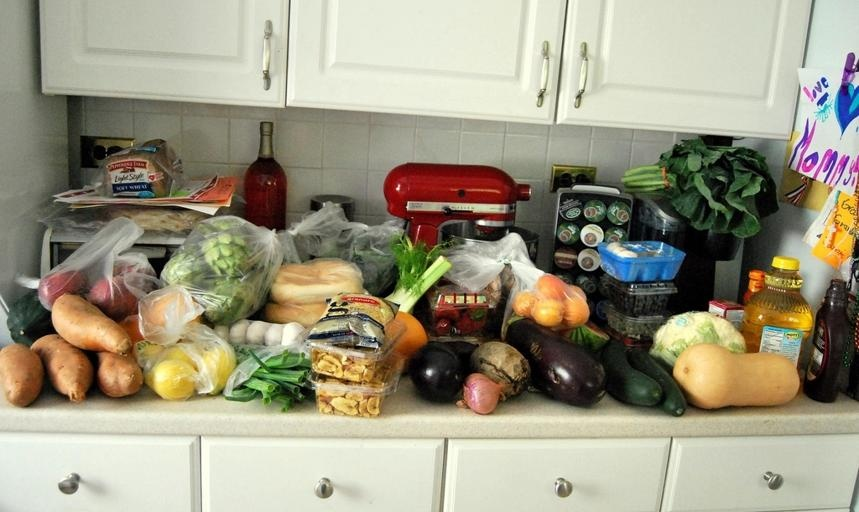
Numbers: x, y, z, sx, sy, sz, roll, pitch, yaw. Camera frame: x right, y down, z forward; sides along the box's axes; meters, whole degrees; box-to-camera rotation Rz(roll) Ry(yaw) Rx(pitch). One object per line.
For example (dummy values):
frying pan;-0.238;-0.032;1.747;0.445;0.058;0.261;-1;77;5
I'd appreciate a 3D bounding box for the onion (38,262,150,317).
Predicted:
onion;-0.933;0.067;1.835;0.279;0.133;0.244;-2;11;-11

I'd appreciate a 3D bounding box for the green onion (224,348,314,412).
green onion;-0.414;0.300;1.775;0.239;0.154;0.222;-1;17;-3

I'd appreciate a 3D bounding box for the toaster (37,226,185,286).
toaster;-0.999;-0.044;2.132;0.525;0.132;0.392;-3;14;-9

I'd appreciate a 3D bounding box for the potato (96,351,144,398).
potato;-0.816;0.306;1.679;0.112;0.107;0.062;-2;14;-7

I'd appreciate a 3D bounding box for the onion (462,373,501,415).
onion;0.132;0.373;1.729;0.132;0.072;0.105;3;25;-11

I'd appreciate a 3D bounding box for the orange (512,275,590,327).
orange;0.374;0.102;1.958;0.233;0.141;0.231;-13;18;-40

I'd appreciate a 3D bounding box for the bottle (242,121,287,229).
bottle;-0.568;-0.282;2.246;0.130;0.382;0.132;5;9;-1

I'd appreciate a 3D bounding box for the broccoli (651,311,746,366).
broccoli;0.772;0.236;1.818;0.216;0.091;0.258;-4;15;-20

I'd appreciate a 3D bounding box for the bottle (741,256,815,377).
bottle;1.037;0.164;1.914;0.178;0.403;0.152;2;0;4

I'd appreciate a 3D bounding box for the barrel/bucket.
barrel/bucket;1.019;0.157;1.895;0.180;0.392;0.150;2;0;7

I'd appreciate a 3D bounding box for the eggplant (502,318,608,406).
eggplant;0.336;0.293;1.788;0.291;0.183;0.099;10;18;37

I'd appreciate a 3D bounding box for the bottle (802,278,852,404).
bottle;1.122;0.247;1.817;0.091;0.371;0.096;-1;2;0

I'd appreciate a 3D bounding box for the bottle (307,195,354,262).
bottle;-0.345;-0.160;2.251;0.163;0.092;0.210;-2;13;-6

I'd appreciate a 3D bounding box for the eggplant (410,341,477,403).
eggplant;0.050;0.313;1.771;0.138;0.154;0.195;10;17;37

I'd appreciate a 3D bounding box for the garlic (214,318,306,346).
garlic;-0.485;0.220;1.853;0.266;0.065;0.091;2;14;10

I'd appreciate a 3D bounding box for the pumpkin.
pumpkin;0.861;0.324;1.823;0.324;0.161;0.155;1;42;-10

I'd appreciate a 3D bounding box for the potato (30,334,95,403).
potato;-0.964;0.270;1.694;0.221;0.085;0.100;37;31;30

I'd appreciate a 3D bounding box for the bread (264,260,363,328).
bread;-0.353;0.106;1.946;0.305;0.165;0.167;-4;14;-13

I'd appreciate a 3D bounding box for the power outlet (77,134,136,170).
power outlet;-1.104;-0.350;2.161;0.168;0.108;0.022;0;6;-10

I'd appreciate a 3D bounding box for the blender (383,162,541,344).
blender;0.096;-0.079;2.087;0.507;0.568;0.322;-1;19;-3

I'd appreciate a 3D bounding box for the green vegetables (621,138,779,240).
green vegetables;0.869;-0.223;2.098;0.486;0.311;0.162;6;16;27

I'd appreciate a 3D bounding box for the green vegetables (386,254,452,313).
green vegetables;-0.029;0.079;1.949;0.206;0.054;0.055;-41;23;-5
